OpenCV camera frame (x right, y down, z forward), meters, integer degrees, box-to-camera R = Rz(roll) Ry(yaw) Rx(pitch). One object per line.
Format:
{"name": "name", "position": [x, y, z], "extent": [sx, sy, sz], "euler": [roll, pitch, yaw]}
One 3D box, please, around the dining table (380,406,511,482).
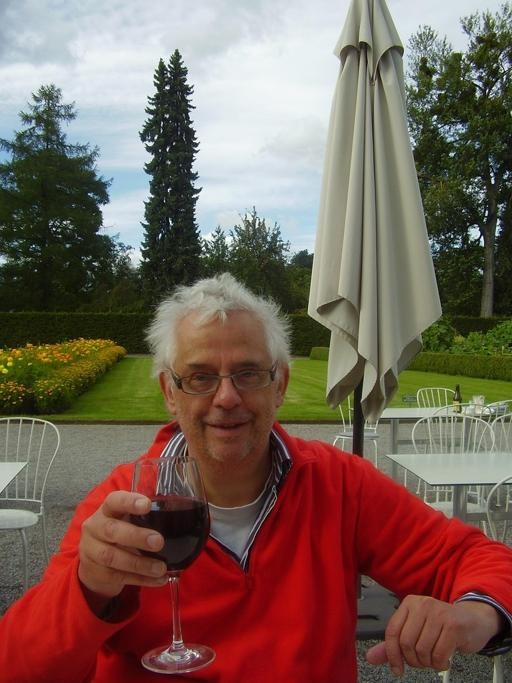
{"name": "dining table", "position": [2.506, 1.367, 7.738], "extent": [1.886, 1.164, 1.761], "euler": [0, -3, 16]}
